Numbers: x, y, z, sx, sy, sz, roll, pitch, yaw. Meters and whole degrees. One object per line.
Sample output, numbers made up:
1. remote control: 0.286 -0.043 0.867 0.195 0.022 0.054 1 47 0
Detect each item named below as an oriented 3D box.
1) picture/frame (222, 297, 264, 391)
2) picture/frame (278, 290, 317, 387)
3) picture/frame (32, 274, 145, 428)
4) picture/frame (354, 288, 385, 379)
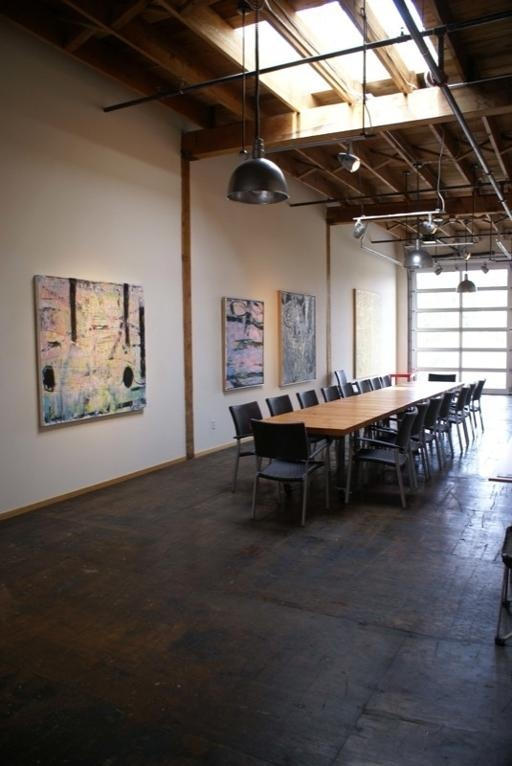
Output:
1. picture/frame: -0.207 -0.536 7.664 0.101 1.459 1.182 4 7 31
2. picture/frame: 0.640 -0.741 9.315 0.105 1.587 1.486 2 6 26
3. picture/frame: -1.529 -0.294 5.042 0.137 1.428 1.396 1 3 30
4. picture/frame: 2.590 -1.121 13.096 0.084 1.964 2.136 0 3 27
